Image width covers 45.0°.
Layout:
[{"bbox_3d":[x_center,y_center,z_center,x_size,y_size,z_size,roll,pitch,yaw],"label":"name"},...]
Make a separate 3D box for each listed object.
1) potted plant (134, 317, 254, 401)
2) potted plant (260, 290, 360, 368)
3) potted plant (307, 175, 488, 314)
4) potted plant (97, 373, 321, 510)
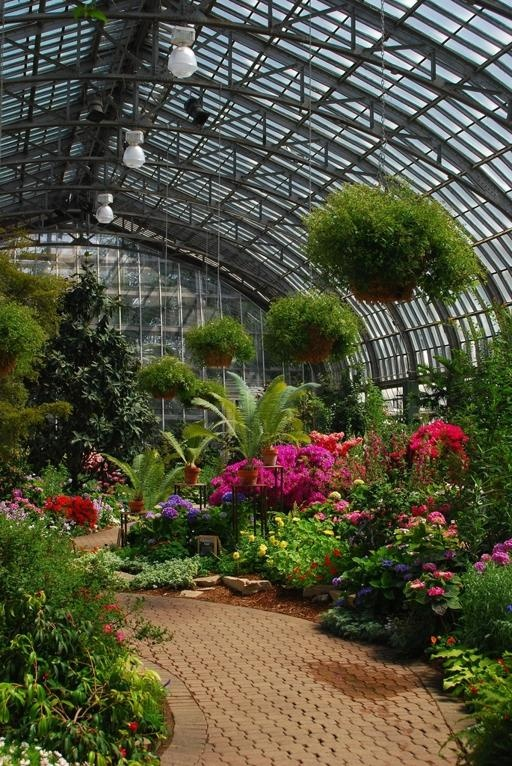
[{"bbox_3d":[-1.127,-0.460,11.375,2.090,0.919,1.441,-21,0,-15],"label":"potted plant"},{"bbox_3d":[0.571,-0.595,6.965,0.868,0.675,0.828,-2,-1,43],"label":"potted plant"},{"bbox_3d":[0.881,-0.870,4.227,1.021,0.675,0.931,3,-3,-5],"label":"potted plant"},{"bbox_3d":[-0.400,0.542,7.333,2.310,1.204,2.385,-12,-11,32],"label":"potted plant"}]
